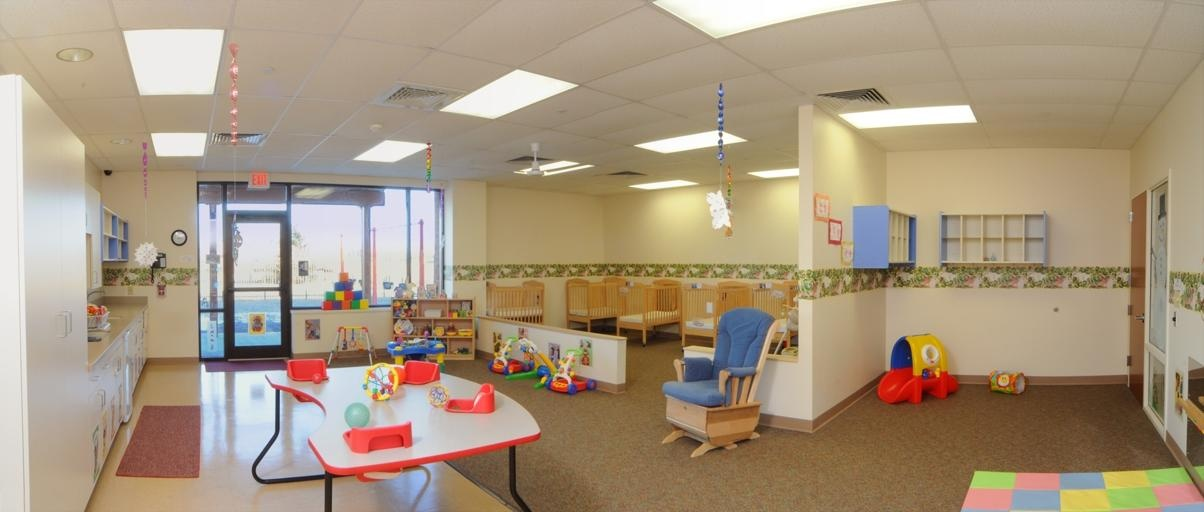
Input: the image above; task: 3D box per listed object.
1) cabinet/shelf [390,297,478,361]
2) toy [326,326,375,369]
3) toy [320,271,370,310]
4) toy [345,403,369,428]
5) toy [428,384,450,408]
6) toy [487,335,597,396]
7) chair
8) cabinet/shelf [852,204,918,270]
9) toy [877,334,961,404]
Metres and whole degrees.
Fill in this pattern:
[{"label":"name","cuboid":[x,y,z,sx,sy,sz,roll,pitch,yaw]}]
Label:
[{"label":"cabinet/shelf","cuboid":[-3.932,1.575,15.220,1.916,1.965,1.008,0,0,-25]},{"label":"toy","cuboid":[-5.863,2.121,15.272,1.397,0.885,1.005,1,-7,-18]},{"label":"toy","cuboid":[-6.152,0.825,15.389,1.316,0.845,0.367,0,3,-14]},{"label":"toy","cuboid":[-3.532,2.289,9.367,0.339,0.334,0.215,1,-2,-18]},{"label":"toy","cuboid":[-2.435,2.111,9.891,0.357,0.296,0.340,7,6,34]},{"label":"toy","cuboid":[-1.273,2.246,13.529,1.920,0.549,1.234,5,0,33]},{"label":"chair","cuboid":[2.042,2.159,11.337,1.702,2.443,0.788,0,-2,-16]},{"label":"cabinet/shelf","cuboid":[5.654,-0.360,12.809,1.985,1.176,0.606,2,-2,-41]},{"label":"toy","cuboid":[6.019,2.180,12.595,1.338,1.240,0.451,1,-2,-22]}]
